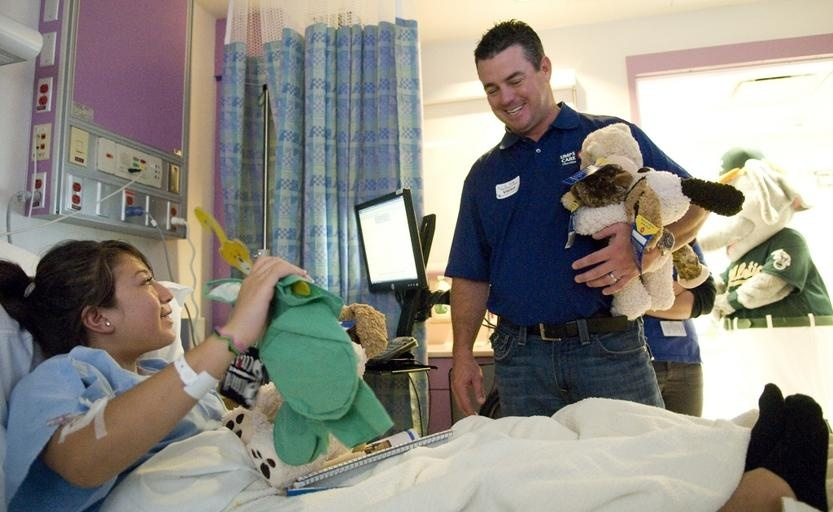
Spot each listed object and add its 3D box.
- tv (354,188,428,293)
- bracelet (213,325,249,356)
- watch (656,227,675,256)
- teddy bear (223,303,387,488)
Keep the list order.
[{"bbox_3d":[-0.127,-0.067,3.047,0.065,0.429,0.478,-16,-9,-36],"label":"tv"},{"bbox_3d":[-0.609,0.284,1.932,0.095,0.032,0.074,31,-8,6],"label":"bracelet"},{"bbox_3d":[0.921,-0.054,2.212,0.038,0.090,0.076,10,-7,-7],"label":"watch"},{"bbox_3d":[-0.406,0.508,2.311,0.408,0.639,0.247,46,-25,-13],"label":"teddy bear"}]
